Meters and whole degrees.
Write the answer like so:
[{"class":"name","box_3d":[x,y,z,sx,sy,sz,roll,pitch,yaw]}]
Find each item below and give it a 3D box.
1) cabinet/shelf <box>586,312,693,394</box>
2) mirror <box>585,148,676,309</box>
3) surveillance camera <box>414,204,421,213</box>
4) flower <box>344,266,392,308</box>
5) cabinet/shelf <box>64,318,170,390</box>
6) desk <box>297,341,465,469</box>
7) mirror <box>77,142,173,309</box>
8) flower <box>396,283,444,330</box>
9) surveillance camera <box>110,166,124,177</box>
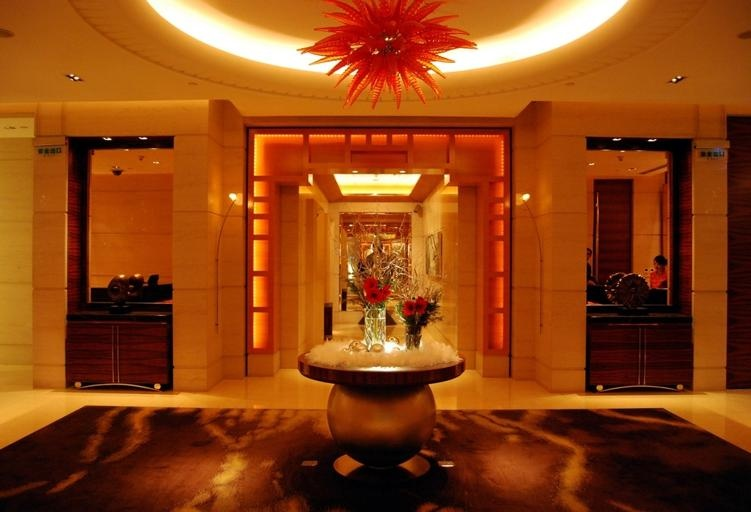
[{"class":"cabinet/shelf","box_3d":[3.980,1.478,9.192,1.698,1.079,0.858,1,-3,-8]},{"class":"mirror","box_3d":[3.864,-0.344,9.430,1.321,2.209,0.241,1,-35,22]},{"class":"surveillance camera","box_3d":[1.046,-1.161,14.198,0.192,0.314,0.182,-2,-9,9]},{"class":"flower","box_3d":[-0.082,0.345,6.694,0.538,0.464,0.311,9,15,37]},{"class":"cabinet/shelf","box_3d":[-3.768,1.446,9.167,1.748,1.153,0.897,0,2,12]},{"class":"desk","box_3d":[0.120,1.503,6.622,1.539,1.037,1.459,0,-1,3]},{"class":"mirror","box_3d":[-3.877,-0.495,9.276,1.926,3.089,0.156,-2,-7,-5]},{"class":"flower","box_3d":[0.562,0.535,6.706,0.497,0.510,0.511,17,32,40]},{"class":"surveillance camera","box_3d":[-4.094,-1.342,9.321,0.181,0.143,0.171,0,1,1]}]
